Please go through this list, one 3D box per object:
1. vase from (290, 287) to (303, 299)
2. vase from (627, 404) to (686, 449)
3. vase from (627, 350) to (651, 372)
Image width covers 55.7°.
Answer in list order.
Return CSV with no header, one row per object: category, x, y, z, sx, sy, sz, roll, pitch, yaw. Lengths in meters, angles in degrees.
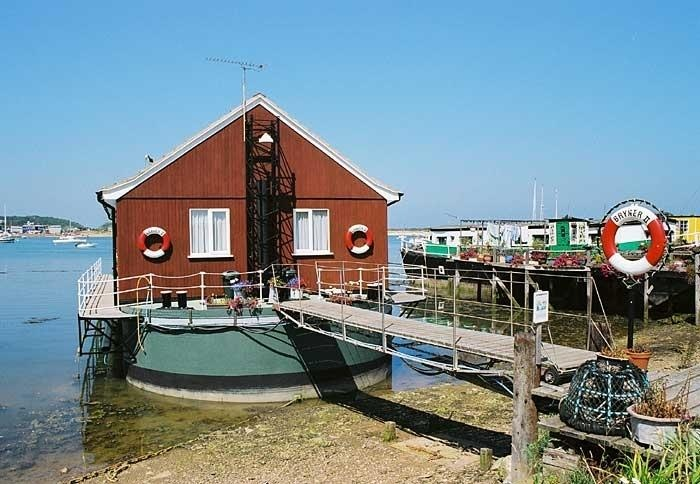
vase,-2.185,2.077,26.930,0.554,0.360,0.532,-1,-5,5
vase,6.800,4.201,14.870,1.069,0.813,0.451,1,9,25
vase,7.712,3.196,17.724,0.560,0.507,0.831,1,9,25
